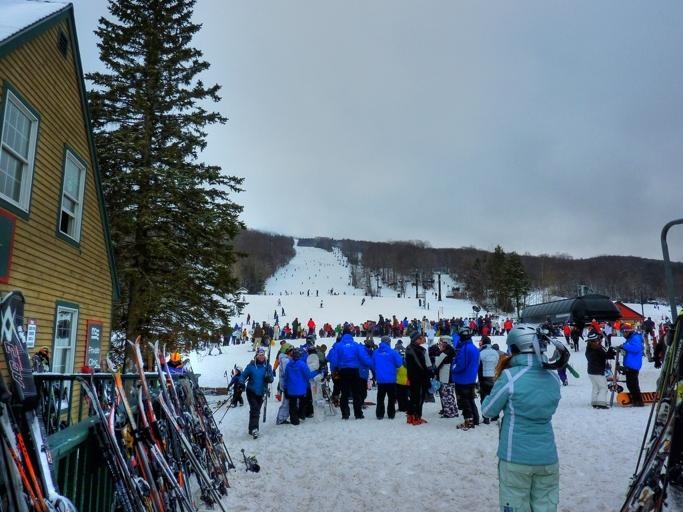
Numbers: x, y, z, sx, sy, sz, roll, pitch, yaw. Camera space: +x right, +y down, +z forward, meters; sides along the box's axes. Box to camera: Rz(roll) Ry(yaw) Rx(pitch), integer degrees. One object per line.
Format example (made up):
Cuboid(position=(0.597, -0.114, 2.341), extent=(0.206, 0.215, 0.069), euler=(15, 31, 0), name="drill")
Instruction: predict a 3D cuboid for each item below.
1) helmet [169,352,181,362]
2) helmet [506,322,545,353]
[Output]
Cuboid(position=(-3.776, 2.271, 13.217), extent=(0.179, 0.167, 0.284), euler=(6, -7, -14), name="helmet")
Cuboid(position=(2.318, 0.999, 7.366), extent=(0.390, 0.410, 0.308), euler=(-9, 2, -23), name="helmet")
